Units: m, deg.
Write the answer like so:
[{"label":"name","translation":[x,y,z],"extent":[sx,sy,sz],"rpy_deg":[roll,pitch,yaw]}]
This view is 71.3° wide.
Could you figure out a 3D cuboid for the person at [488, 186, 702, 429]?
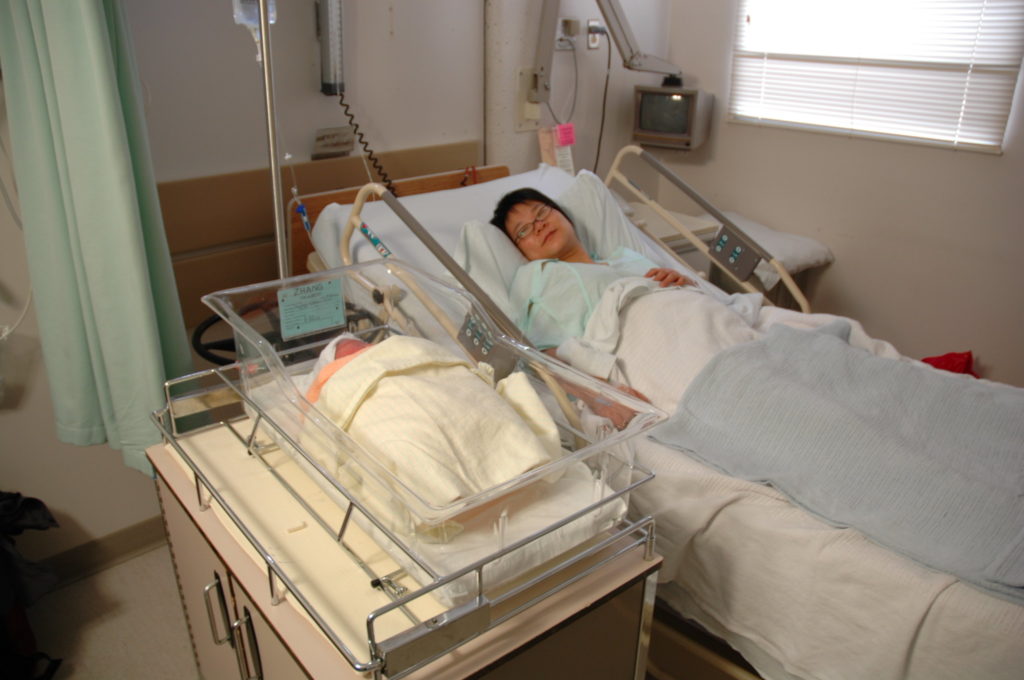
[{"label":"person","translation":[0.196,-0.129,2.724],"extent":[0.803,0.289,0.669],"rpy_deg":[41,47,18]}]
